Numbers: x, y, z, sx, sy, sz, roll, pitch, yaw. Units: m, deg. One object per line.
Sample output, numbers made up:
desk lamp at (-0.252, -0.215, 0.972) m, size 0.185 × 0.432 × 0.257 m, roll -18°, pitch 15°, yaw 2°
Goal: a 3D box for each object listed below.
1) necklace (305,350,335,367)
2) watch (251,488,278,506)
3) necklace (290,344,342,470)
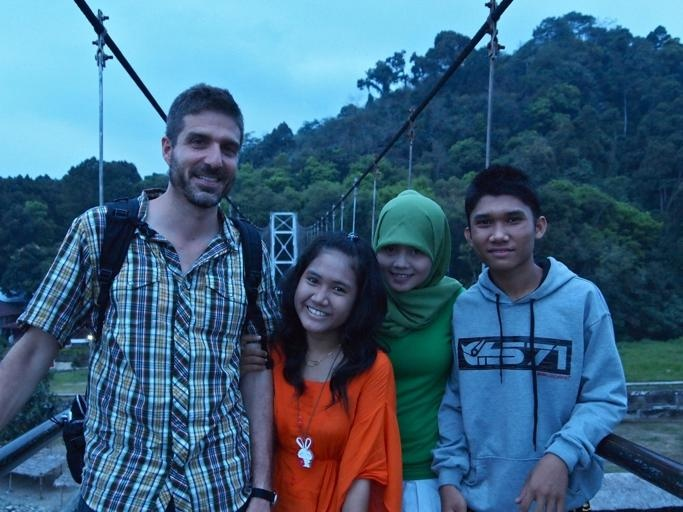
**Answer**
necklace at (-0.073, 0.380, 2.532) m, size 0.070 × 0.022 × 0.075 m, roll 0°, pitch -47°, yaw 3°
watch at (-0.257, 0.803, 2.290) m, size 0.075 × 0.053 × 0.081 m, roll -3°, pitch -23°, yaw 46°
necklace at (-0.078, 0.544, 2.466) m, size 0.191 × 0.407 × 0.078 m, roll 2°, pitch -1°, yaw -45°
